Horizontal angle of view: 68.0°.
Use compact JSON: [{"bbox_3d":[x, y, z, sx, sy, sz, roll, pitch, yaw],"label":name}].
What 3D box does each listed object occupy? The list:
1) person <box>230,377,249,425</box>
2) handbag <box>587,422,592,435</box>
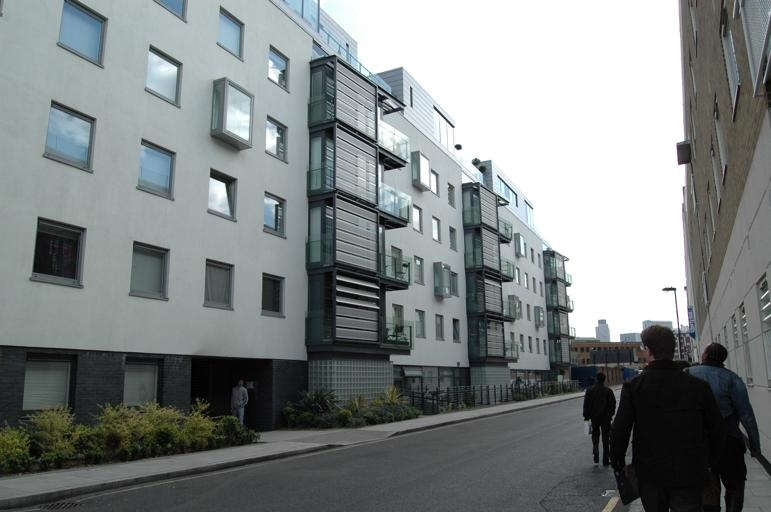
[{"bbox_3d":[-5.547,5.550,21.668,0.555,1.590,0.830,-2,-9,14],"label":"person"},{"bbox_3d":[4.999,4.216,14.025,0.104,0.287,0.301,-4,-10,25],"label":"handbag"}]
